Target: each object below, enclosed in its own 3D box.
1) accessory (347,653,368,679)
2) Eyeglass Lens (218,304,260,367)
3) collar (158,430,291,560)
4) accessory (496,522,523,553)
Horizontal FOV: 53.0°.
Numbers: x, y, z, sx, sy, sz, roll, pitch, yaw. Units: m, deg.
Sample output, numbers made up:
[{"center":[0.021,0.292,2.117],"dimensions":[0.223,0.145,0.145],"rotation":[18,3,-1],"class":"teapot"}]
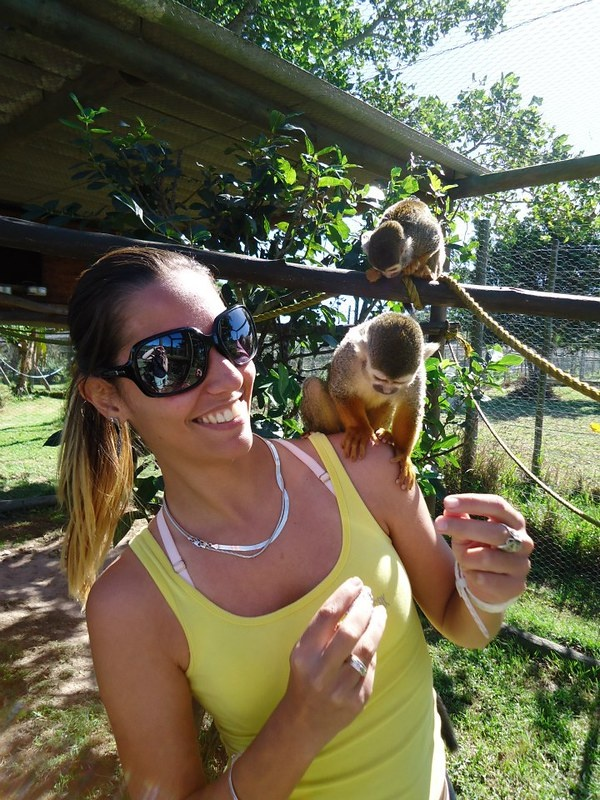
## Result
[{"center":[0.099,0.457,1.035],"dimensions":[0.010,0.038,0.039],"rotation":[-40,29,6],"class":"accessory"},{"center":[-0.136,-0.145,1.338],"dimensions":[0.084,0.134,0.068],"rotation":[2,13,-18],"class":"Eyeglass Lens"},{"center":[-0.137,0.201,1.345],"dimensions":[0.199,0.217,0.182],"rotation":[-5,15,-37],"class":"collar"},{"center":[0.394,0.267,1.166],"dimensions":[0.034,0.051,0.042],"rotation":[11,19,-28],"class":"accessory"}]
